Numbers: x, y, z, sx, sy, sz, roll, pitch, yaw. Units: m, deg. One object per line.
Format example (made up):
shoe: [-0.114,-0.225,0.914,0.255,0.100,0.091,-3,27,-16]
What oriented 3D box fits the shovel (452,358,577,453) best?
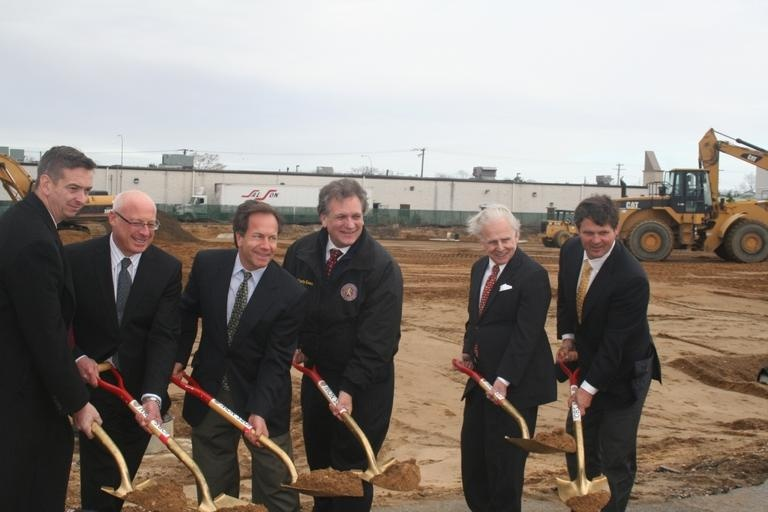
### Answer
shovel: [0.997,1.321,5.982,0.424,0.203,1.142,23,13,-46]

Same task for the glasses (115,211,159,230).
glasses: [-2.045,-0.280,5.722,0.310,0.163,0.131,-4,10,-24]

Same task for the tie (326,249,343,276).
tie: [-0.445,0.054,6.088,0.122,0.227,0.108,13,-8,42]

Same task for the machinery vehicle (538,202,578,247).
machinery vehicle: [7.357,-1.317,29.787,1.236,1.597,2.378,27,20,36]

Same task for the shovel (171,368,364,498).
shovel: [-0.869,1.491,5.619,1.471,0.778,0.445,5,11,26]

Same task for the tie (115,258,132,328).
tie: [-2.169,0.234,5.855,0.125,0.120,0.857,17,28,-26]

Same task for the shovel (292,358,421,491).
shovel: [-0.321,1.401,5.814,0.450,0.282,1.702,-22,50,-30]
